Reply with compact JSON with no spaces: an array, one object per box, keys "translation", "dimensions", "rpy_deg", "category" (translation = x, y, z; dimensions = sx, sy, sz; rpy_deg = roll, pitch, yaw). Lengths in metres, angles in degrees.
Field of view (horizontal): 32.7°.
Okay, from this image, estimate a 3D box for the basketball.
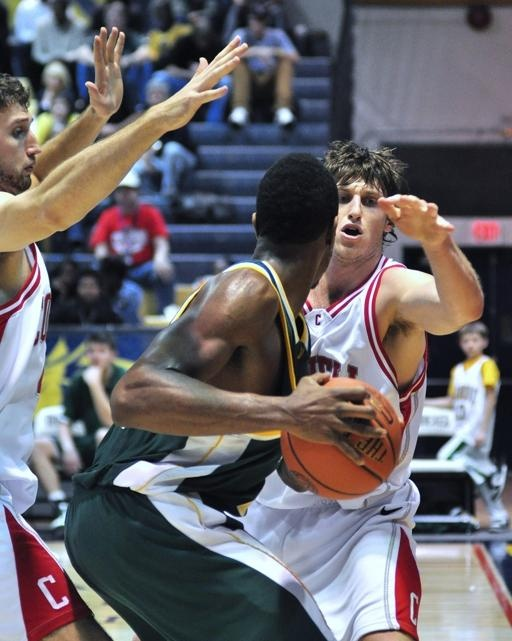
[{"translation":[0.207,0.266,1.926],"dimensions":[0.256,0.228,0.302],"rpy_deg":[-1,-4,12],"category":"basketball"}]
